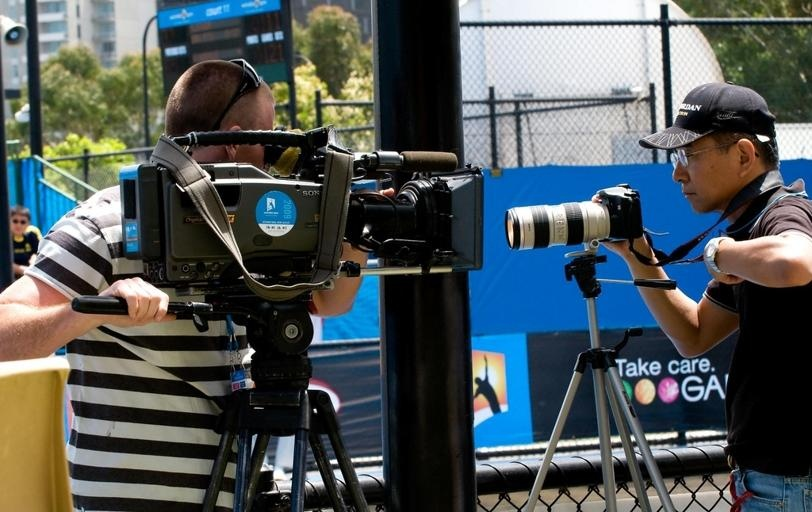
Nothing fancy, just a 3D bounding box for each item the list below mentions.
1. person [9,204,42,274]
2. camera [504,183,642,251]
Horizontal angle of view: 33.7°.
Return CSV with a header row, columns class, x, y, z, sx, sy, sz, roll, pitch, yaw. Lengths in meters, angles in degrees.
class,x,y,z,sx,sy,sz,roll,pitch,yaw
person,-4.662,-0.044,16.194,0.514,1.109,0.623,-3,0,-11
camera,1.421,-0.310,11.226,1.067,0.502,0.437,-4,-4,-2
